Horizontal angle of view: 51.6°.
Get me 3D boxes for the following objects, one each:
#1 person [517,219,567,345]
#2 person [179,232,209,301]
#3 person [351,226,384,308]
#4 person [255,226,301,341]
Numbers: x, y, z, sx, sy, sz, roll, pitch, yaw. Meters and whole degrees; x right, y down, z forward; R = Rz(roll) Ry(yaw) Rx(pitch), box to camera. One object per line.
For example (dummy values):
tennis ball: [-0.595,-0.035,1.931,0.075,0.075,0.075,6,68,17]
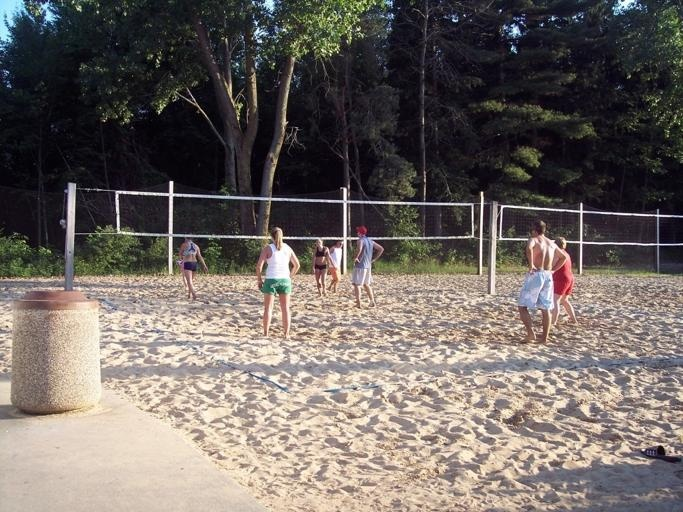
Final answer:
person: [3.178,0.384,11.243,0.677,1.906,1.298,-1,-2,20]
person: [-3.035,0.256,14.518,0.472,1.213,2.156,0,-2,-11]
person: [0.523,0.206,14.194,0.578,1.576,1.953,0,-2,3]
person: [-1.019,0.398,11.215,0.645,1.718,1.439,0,-2,-4]
